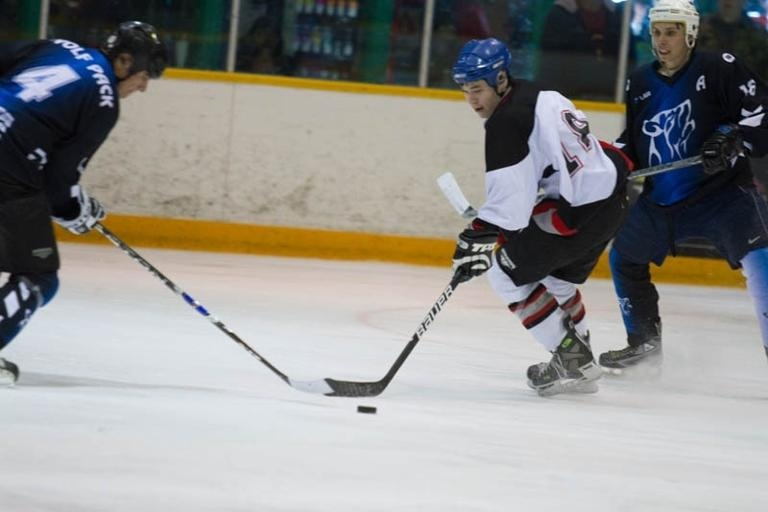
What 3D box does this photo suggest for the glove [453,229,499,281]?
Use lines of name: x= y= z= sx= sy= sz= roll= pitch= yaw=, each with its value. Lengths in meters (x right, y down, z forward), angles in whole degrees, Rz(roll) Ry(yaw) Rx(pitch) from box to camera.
glove: x=0.406 y=-0.016 z=3.785 sx=0.206 sy=0.230 sz=0.105 roll=7 pitch=18 yaw=-3

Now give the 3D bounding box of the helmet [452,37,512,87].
helmet: x=0.419 y=-0.846 z=3.736 sx=0.260 sy=0.195 sz=0.204 roll=-4 pitch=4 yaw=-27

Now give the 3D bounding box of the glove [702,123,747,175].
glove: x=1.579 y=-0.487 z=4.002 sx=0.191 sy=0.232 sz=0.102 roll=34 pitch=0 yaw=19

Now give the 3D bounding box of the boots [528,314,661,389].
boots: x=0.960 y=0.518 z=3.962 sx=0.519 sy=0.214 sz=0.450 roll=-9 pitch=7 yaw=-38

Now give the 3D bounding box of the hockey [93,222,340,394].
hockey: x=-0.969 y=0.295 z=4.728 sx=1.387 sy=0.109 sz=0.193 roll=31 pitch=13 yaw=4
